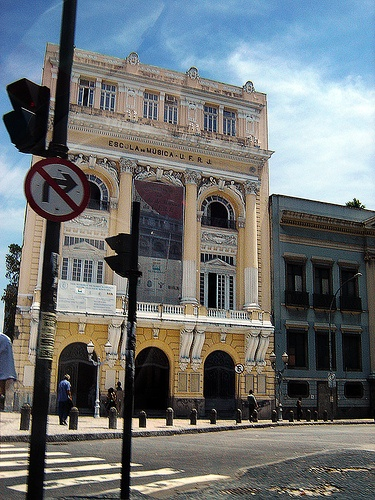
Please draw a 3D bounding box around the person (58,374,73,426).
[{"bbox_3d":[-4.163,5.136,21.238,0.478,1.459,0.829,3,-12,-12],"label":"person"}]

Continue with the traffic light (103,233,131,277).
[{"bbox_3d":[-0.900,0.079,7.726,0.384,0.857,0.431,0,-6,-9],"label":"traffic light"}]
